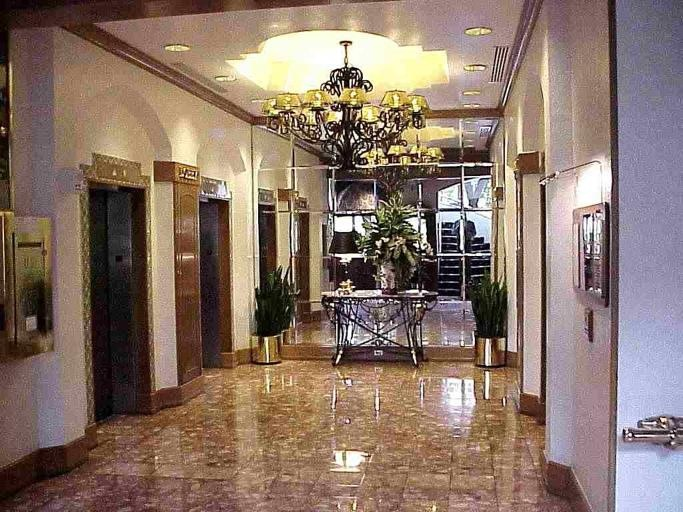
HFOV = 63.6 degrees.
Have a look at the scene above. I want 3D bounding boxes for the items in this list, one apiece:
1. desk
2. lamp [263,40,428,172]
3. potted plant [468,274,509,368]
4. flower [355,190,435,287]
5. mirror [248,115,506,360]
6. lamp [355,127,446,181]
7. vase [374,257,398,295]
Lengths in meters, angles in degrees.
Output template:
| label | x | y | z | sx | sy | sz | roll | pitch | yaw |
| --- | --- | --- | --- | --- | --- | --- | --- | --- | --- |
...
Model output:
| label | x | y | z | sx | sy | sz | roll | pitch | yaw |
| --- | --- | --- | --- | --- | --- | --- | --- | --- | --- |
| desk | 0.584 | 1.212 | 9.063 | 1.719 | 1.252 | 0.984 | 0 | 3 | -3 |
| lamp | 0.043 | -1.812 | 6.266 | 1.580 | 1.311 | 1.463 | -5 | 15 | -11 |
| potted plant | 2.276 | 1.005 | 8.460 | 0.552 | 1.384 | 0.276 | -1 | 1 | 14 |
| flower | 0.743 | -0.162 | 8.964 | 1.081 | 1.475 | 1.089 | -7 | 1 | 19 |
| mirror | 0.727 | -0.244 | 8.639 | 3.338 | 2.842 | 0.154 | 0 | -2 | 3 |
| lamp | 0.887 | -1.698 | 9.159 | 1.455 | 0.848 | 1.494 | 1 | 6 | 19 |
| vase | 0.724 | 0.339 | 8.736 | 0.377 | 0.617 | 0.449 | 0 | 1 | 6 |
